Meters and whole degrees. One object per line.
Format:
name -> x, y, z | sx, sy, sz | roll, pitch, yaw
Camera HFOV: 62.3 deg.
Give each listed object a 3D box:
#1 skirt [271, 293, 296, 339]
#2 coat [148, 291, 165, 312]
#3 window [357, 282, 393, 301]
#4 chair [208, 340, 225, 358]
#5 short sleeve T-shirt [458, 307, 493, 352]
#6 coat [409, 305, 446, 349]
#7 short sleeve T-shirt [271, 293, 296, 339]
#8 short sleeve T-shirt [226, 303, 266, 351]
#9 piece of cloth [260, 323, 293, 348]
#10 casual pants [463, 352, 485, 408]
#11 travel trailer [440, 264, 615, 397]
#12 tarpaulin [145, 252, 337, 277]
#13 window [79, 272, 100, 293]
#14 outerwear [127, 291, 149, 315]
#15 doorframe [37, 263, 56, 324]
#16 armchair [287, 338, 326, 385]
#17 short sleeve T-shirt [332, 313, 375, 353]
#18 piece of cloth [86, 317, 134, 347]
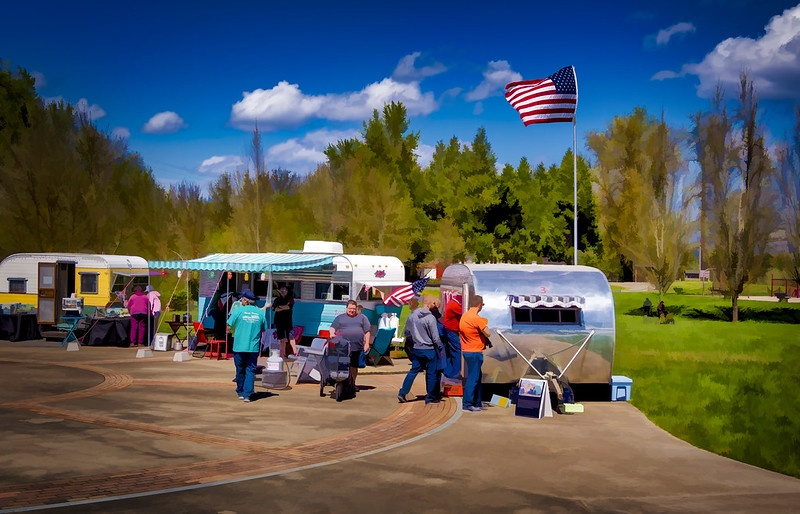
skirt -> -3.682, 1.875, 21.022 | 0.564, 1.432, 1.168 | 1, 4, -12
coat -> -9.177, 1.695, 24.879 | 0.615, 1.092, 0.781 | 3, -6, -36
window -> -0.792, 1.252, 23.963 | 0.436, 0.598, 1.520 | 5, 5, 41
chair -> -6.228, 3.214, 22.837 | 0.642, 0.727, 0.628 | 2, -4, -41
short sleeve T-shirt -> 1.814, 1.829, 16.348 | 0.600, 1.030, 0.882 | -1, -2, -29
coat -> 0.570, 1.785, 16.433 | 0.965, 1.020, 0.579 | 1, 2, 32
short sleeve T-shirt -> -3.682, 1.875, 21.022 | 0.564, 1.432, 1.168 | 1, 4, -12
short sleeve T-shirt -> -3.709, 1.762, 16.147 | 0.819, 1.148, 0.410 | 1, 4, -15
piece of cloth -> -4.062, 2.394, 21.357 | 0.980, 0.568, 0.967 | 10, -13, -34
casual pants -> 1.776, 2.960, 16.243 | 0.464, 1.361, 0.674 | 2, 4, 7
travel trailer -> 3.466, 1.820, 18.254 | 3.979, 3.649, 3.402 | 1, -4, -10
tarpaulin -> -5.222, 0.266, 23.597 | 5.457, 0.877, 3.126 | 4, 4, 27
window -> -12.591, 1.075, 27.027 | 0.775, 0.833, 0.133 | 2, 2, 15
outerwear -> -9.710, 1.745, 24.679 | 0.783, 0.884, 0.784 | 1, 8, -9
doorframe -> -14.218, 1.479, 26.815 | 0.865, 2.400, 0.730 | 1, 4, -9
armchair -> -2.418, 2.845, 18.579 | 0.779, 1.180, 0.874 | 3, 6, -3
short sleeve T-shirt -> -1.257, 1.924, 17.119 | 0.953, 0.940, 0.577 | 4, 1, -2
piece of cloth -> -10.814, 2.812, 24.613 | 1.168, 0.664, 1.227 | 0, -2, 31
